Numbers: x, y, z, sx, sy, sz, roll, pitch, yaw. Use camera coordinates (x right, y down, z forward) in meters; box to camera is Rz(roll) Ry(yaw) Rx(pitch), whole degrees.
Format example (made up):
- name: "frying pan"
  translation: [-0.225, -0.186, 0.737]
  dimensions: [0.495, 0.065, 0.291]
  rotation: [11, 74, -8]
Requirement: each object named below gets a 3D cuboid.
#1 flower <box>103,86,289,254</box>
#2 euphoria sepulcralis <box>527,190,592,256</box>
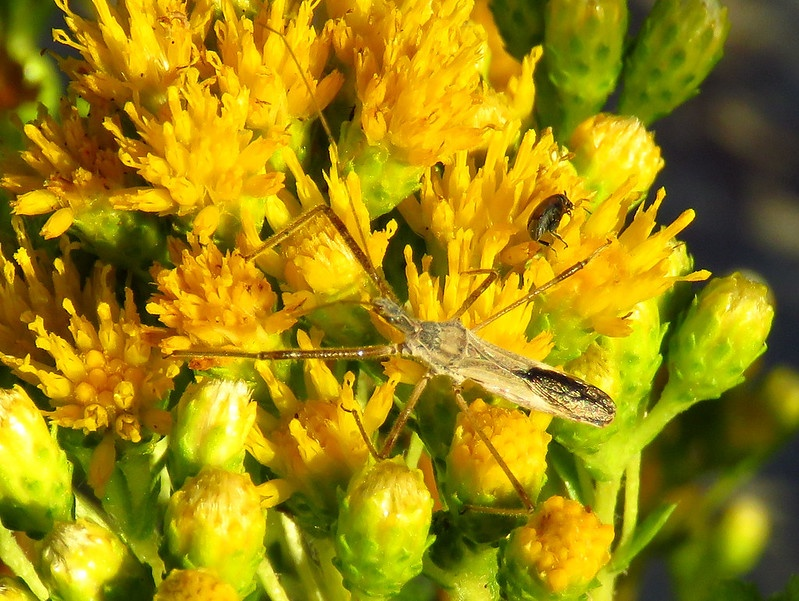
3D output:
- name: "flower"
  translation: [-0.541, -0.380, 2.537]
  dimensions: [0.458, 0.386, 0.200]
  rotation: [-1, 16, -11]
- name: "euphoria sepulcralis"
  translation: [0.415, -0.230, 2.639]
  dimensions: [0.095, 0.170, 0.104]
  rotation: [8, 26, 13]
